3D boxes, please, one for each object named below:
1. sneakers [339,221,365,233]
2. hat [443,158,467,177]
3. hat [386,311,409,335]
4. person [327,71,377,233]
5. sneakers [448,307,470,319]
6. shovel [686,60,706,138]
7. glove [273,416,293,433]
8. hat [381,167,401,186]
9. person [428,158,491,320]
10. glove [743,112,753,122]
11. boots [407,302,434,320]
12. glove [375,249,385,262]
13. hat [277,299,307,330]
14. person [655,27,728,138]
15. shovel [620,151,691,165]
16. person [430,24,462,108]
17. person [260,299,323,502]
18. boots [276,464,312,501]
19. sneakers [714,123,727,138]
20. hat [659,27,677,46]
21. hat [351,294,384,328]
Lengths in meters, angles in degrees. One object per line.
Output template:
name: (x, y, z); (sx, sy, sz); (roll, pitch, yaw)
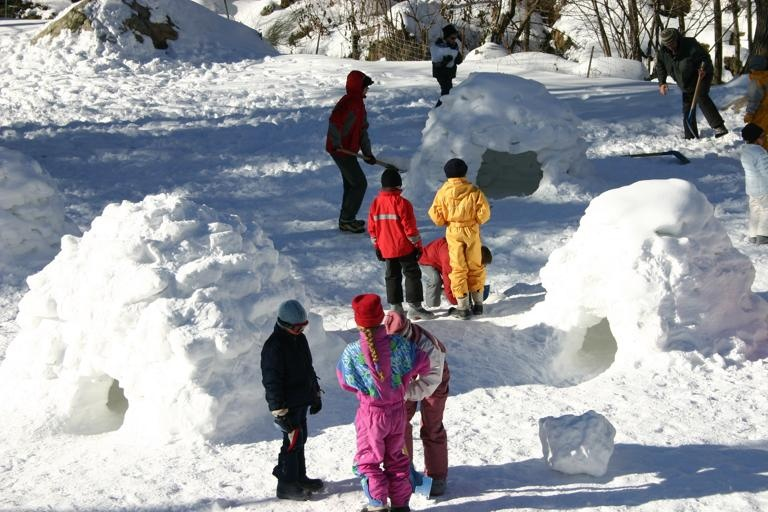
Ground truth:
sneakers: (-0.506, -0.449, 13.180); (0.404, 0.183, 0.165); (-2, 23, 2)
hat: (0.934, -1.150, 10.781); (0.234, 0.228, 0.281); (2, 13, 9)
hat: (0.120, 0.685, 8.500); (0.243, 0.234, 0.167); (-2, 25, -1)
person: (-0.534, -1.535, 12.729); (0.680, 2.532, 0.597); (-2, 26, -1)
sneakers: (1.011, 0.776, 11.073); (0.117, 0.118, 0.268); (-8, 16, -38)
shovel: (5.683, -2.807, 14.694); (0.399, 0.132, 1.637); (17, 62, 6)
glove: (-1.054, 1.784, 8.723); (0.171, 0.214, 0.086); (-13, 28, -24)
hat: (0.089, -1.047, 10.795); (0.230, 0.233, 0.252); (14, 28, 39)
person: (1.014, -0.222, 10.891); (0.683, 2.096, 0.585); (19, 32, 36)
glove: (5.576, -2.132, 12.638); (0.135, 0.129, 0.152); (8, 21, 9)
boots: (0.478, 0.772, 11.097); (0.426, 0.288, 0.148); (-4, 5, -3)
glove: (-0.063, -0.020, 11.168); (0.132, 0.141, 0.157); (-11, 55, 2)
hat: (-0.990, 0.636, 8.812); (0.328, 0.271, 0.241); (-17, -5, 29)
person: (5.274, -2.905, 14.095); (1.212, 1.979, 0.942); (4, 26, 11)
shovel: (4.756, -1.695, 14.275); (1.051, 0.295, 0.166); (-1, 33, 8)
person: (1.181, -3.599, 15.134); (0.503, 1.253, 0.592); (22, 34, 40)
person: (-0.976, 1.561, 8.789); (0.600, 2.049, 0.804); (-5, 26, -7)
boots: (-0.933, 2.475, 8.908); (0.528, 0.350, 0.189); (-7, -3, 24)
sneakers: (5.860, -2.191, 14.339); (0.175, 0.082, 0.247); (40, 64, 3)
hat: (4.751, -3.594, 13.647); (0.275, 0.336, 0.408); (8, 26, 18)
hat: (-0.173, 0.577, 8.562); (0.305, 0.272, 0.409); (0, 7, 19)
